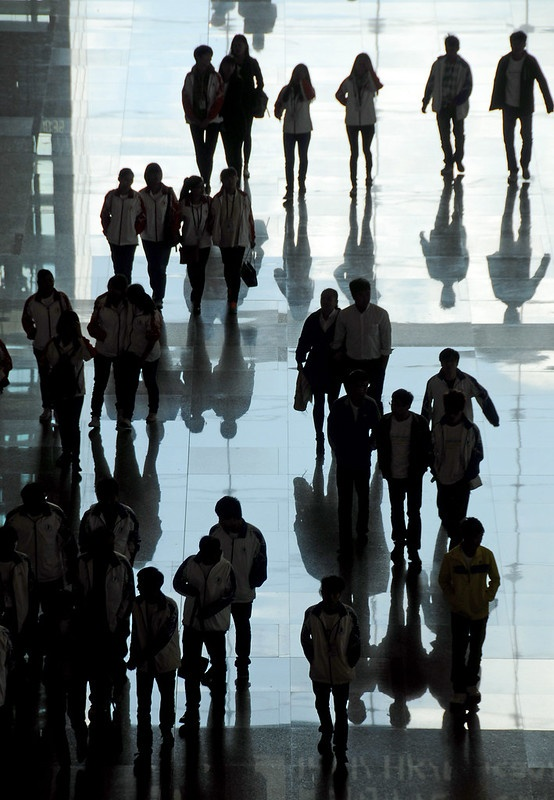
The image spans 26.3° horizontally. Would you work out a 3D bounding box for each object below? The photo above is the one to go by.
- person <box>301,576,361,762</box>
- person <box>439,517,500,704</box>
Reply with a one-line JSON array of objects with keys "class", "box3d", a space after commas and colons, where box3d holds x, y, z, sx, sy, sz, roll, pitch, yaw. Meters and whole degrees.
[{"class": "person", "box3d": [0.257, 1.307, 5.745, 0.270, 1.031, 0.483, 2, 7, 8]}, {"class": "person", "box3d": [1.006, 1.119, 6.314, 0.301, 1.063, 0.519, 2, 7, 9]}]
